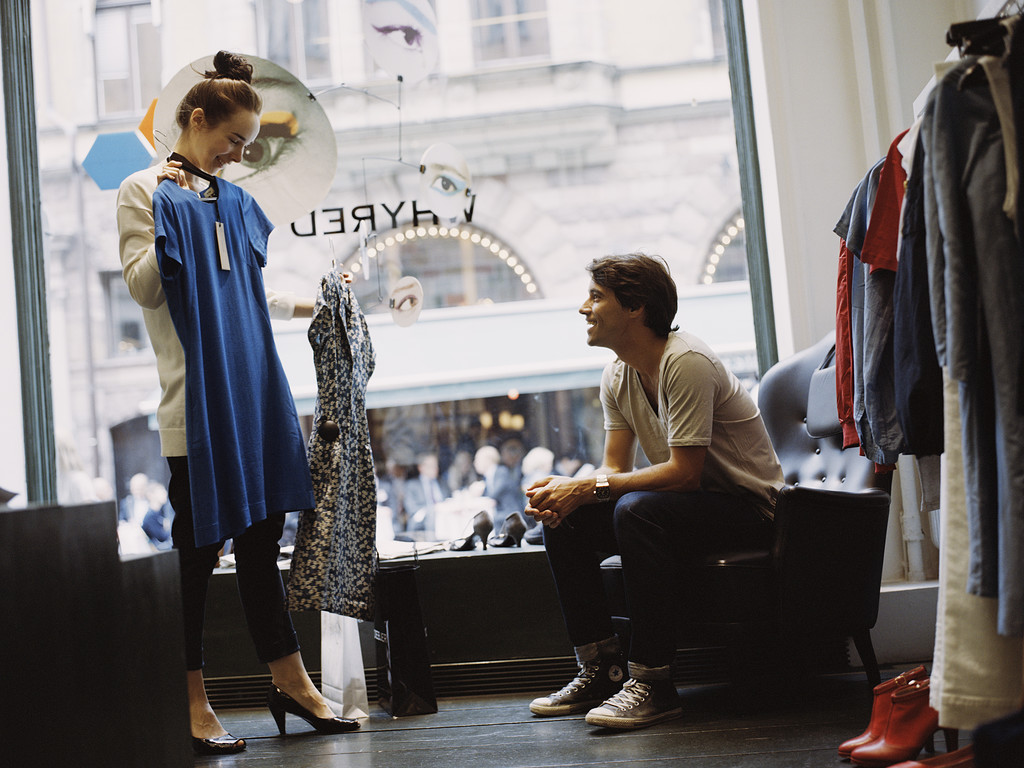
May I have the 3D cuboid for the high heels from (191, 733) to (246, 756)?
[{"bbox_3d":[-0.831,1.002,4.342,0.107,0.044,0.069,-6,-9,-2],"label":"high heels"}]

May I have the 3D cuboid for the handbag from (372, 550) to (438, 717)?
[{"bbox_3d":[-0.336,0.786,4.749,0.202,0.618,0.372,-5,-8,-10],"label":"handbag"}]

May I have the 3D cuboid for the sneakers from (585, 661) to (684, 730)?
[{"bbox_3d":[0.361,0.899,4.341,0.299,0.209,0.125,3,-10,-21],"label":"sneakers"}]

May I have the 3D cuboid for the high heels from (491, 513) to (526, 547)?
[{"bbox_3d":[-0.008,0.493,5.221,0.109,0.108,0.229,-6,-1,-25],"label":"high heels"}]

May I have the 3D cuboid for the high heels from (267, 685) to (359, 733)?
[{"bbox_3d":[-0.602,0.971,4.577,0.333,0.211,0.110,3,-8,-11],"label":"high heels"}]

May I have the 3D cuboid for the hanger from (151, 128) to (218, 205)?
[{"bbox_3d":[-0.942,-0.618,4.483,0.141,0.077,0.121,35,6,2],"label":"hanger"}]

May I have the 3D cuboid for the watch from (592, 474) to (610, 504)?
[{"bbox_3d":[0.259,0.311,4.513,0.042,0.067,0.066,1,-41,1],"label":"watch"}]

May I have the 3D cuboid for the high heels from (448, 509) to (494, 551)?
[{"bbox_3d":[-0.137,0.505,5.255,0.155,0.131,0.371,-7,-1,-2],"label":"high heels"}]

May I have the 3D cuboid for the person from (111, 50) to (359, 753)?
[{"bbox_3d":[-0.825,0.038,4.480,0.523,1.947,0.269,-5,-1,-34],"label":"person"}]
